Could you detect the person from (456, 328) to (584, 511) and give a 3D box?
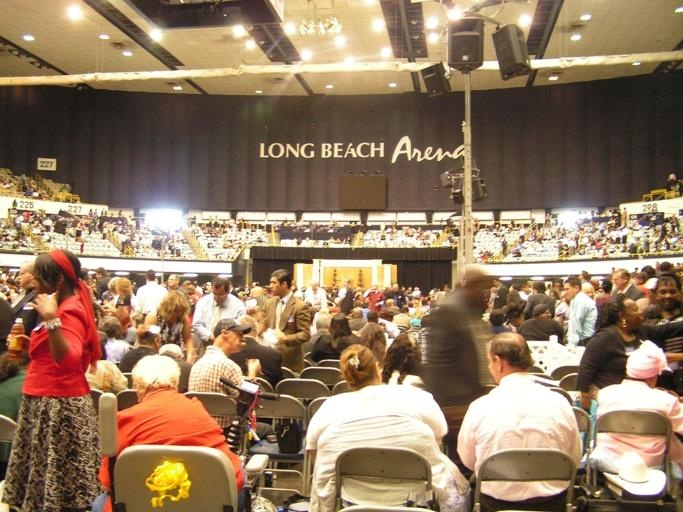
[{"bbox_3d":[1.310,1.216,4.242,0.868,1.251,0.568,2,-2,17],"label":"person"}]

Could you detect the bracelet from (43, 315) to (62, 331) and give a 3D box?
[{"bbox_3d":[-2.053,0.476,4.153,0.089,0.104,0.100,-1,-11,-11],"label":"bracelet"}]

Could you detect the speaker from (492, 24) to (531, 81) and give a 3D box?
[{"bbox_3d":[3.209,-3.888,10.954,0.644,1.025,0.641,1,-3,31],"label":"speaker"}]

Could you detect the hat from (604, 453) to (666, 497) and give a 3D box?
[{"bbox_3d":[2.342,1.697,4.585,0.344,0.166,0.392,-1,3,28],"label":"hat"}]

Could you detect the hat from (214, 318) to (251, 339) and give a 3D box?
[{"bbox_3d":[-1.006,0.660,5.392,0.277,0.152,0.173,-16,-3,-13],"label":"hat"}]

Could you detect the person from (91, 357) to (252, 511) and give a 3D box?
[{"bbox_3d":[-1.175,1.147,4.301,1.045,1.448,0.951,-4,-20,-15],"label":"person"}]

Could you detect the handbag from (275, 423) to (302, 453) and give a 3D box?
[{"bbox_3d":[-0.489,1.731,5.626,0.249,0.293,0.262,-3,-5,21],"label":"handbag"}]

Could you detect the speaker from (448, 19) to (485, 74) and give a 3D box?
[{"bbox_3d":[2.303,-3.776,10.806,0.684,1.165,0.690,3,-11,-1],"label":"speaker"}]
